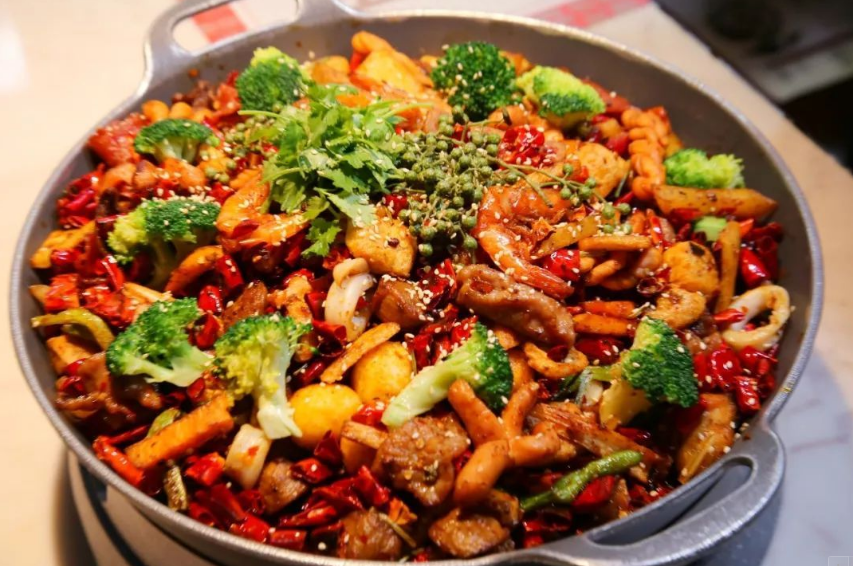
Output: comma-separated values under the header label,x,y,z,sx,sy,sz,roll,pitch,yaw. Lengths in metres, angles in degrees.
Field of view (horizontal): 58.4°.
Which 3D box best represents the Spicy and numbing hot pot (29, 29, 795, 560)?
label,x,y,z,sx,sy,sz,roll,pitch,yaw
Spicy and numbing hot pot,-0.066,0.248,4.335,3.122,2.716,3.679,-9,23,-16
